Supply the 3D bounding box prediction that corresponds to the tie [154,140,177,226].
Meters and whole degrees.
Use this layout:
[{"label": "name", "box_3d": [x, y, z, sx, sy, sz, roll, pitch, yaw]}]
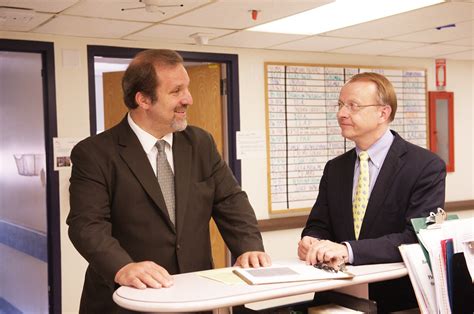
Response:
[{"label": "tie", "box_3d": [-0.419, 0.135, 2.108, 0.095, 0.487, 0.056, 7, -31, -30]}]
